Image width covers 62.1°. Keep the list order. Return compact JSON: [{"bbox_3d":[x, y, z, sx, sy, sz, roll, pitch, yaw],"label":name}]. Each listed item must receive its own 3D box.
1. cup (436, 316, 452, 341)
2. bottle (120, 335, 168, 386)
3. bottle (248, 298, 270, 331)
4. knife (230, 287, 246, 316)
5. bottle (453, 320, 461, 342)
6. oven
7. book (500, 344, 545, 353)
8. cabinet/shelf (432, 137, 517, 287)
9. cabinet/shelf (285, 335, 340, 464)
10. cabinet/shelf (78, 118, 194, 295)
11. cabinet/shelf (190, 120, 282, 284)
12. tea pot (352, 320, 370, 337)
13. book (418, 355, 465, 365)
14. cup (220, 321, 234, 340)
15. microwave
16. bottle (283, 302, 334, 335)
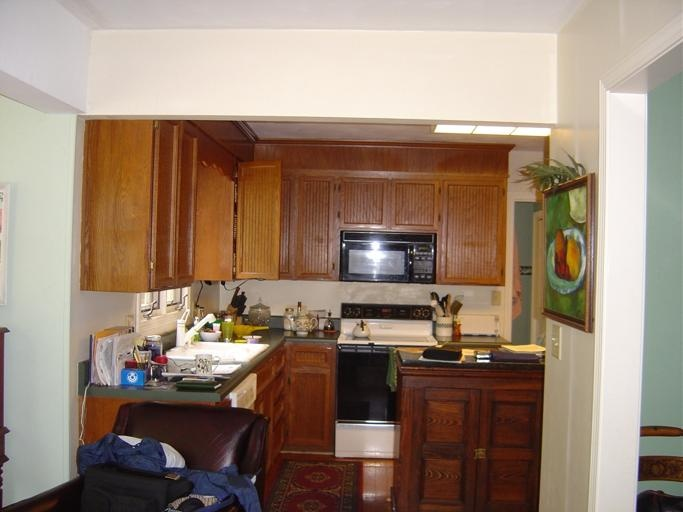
[{"bbox_3d":[0.960,0.682,5.350,0.196,0.217,0.195,1,-4,0],"label":"cup"},{"bbox_3d":[-1.223,0.650,3.611,0.226,0.384,0.404,1,0,0],"label":"bottle"},{"bbox_3d":[-0.798,0.571,5.406,0.236,0.317,0.236,1,1,0],"label":"bottle"},{"bbox_3d":[-1.029,0.433,5.528,0.133,0.293,0.291,-1,-4,9],"label":"knife"},{"bbox_3d":[1.098,0.694,5.396,0.074,0.178,0.284,-1,-4,12],"label":"bottle"},{"bbox_3d":[0.203,1.294,5.199,0.670,0.989,0.723,1,-6,5],"label":"oven"},{"bbox_3d":[1.225,0.619,3.862,0.258,0.022,0.461,-1,-4,15],"label":"book"},{"bbox_3d":[1.256,-0.406,5.370,0.670,1.284,0.436,3,11,21],"label":"cabinet/shelf"},{"bbox_3d":[-0.367,1.266,5.131,0.464,0.909,0.462,7,-18,-16],"label":"cabinet/shelf"},{"bbox_3d":[-1.223,-0.327,3.477,0.683,1.073,0.392,2,-5,-26],"label":"cabinet/shelf"},{"bbox_3d":[-0.861,-0.402,4.721,0.747,1.270,1.403,-2,-4,13],"label":"cabinet/shelf"},{"bbox_3d":[0.175,0.662,5.184,0.144,0.136,0.143,0,7,0],"label":"tea pot"},{"bbox_3d":[0.618,0.646,3.541,0.280,0.040,0.089,-1,-4,9],"label":"book"},{"bbox_3d":[-0.968,0.620,4.778,0.098,0.158,0.206,1,-4,-13],"label":"cup"},{"bbox_3d":[0.422,-0.006,5.390,0.850,0.432,0.485,1,11,1],"label":"microwave"},{"bbox_3d":[-0.386,0.578,5.352,0.448,0.291,0.543,-1,-4,18],"label":"bottle"}]
